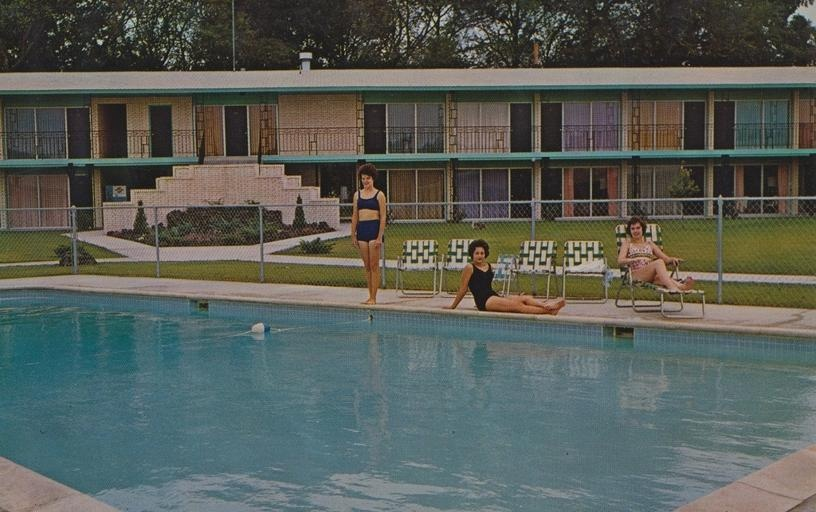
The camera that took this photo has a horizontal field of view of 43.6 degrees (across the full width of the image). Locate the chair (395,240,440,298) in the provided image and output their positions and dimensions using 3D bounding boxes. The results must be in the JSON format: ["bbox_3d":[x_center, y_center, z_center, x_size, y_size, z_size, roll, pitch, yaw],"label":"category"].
[{"bbox_3d":[0.272,0.322,27.452,1.066,1.432,1.033,0,4,6],"label":"chair"}]

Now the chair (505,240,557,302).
[{"bbox_3d":[3.219,0.335,26.395,1.200,1.527,1.211,1,-1,34],"label":"chair"}]

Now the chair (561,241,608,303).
[{"bbox_3d":[4.717,0.393,27.066,1.185,1.515,2.560,1,4,11],"label":"chair"}]

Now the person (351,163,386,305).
[{"bbox_3d":[-1.015,-0.559,26.305,0.847,3.559,1.138,0,4,-5],"label":"person"}]

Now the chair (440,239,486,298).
[{"bbox_3d":[1.299,0.293,27.764,1.394,1.868,1.344,0,0,5],"label":"chair"}]
